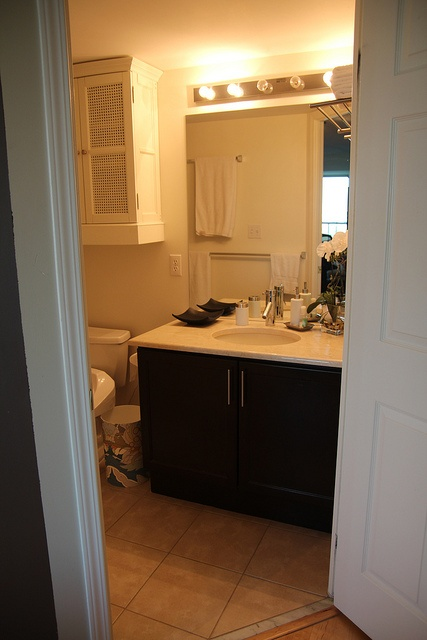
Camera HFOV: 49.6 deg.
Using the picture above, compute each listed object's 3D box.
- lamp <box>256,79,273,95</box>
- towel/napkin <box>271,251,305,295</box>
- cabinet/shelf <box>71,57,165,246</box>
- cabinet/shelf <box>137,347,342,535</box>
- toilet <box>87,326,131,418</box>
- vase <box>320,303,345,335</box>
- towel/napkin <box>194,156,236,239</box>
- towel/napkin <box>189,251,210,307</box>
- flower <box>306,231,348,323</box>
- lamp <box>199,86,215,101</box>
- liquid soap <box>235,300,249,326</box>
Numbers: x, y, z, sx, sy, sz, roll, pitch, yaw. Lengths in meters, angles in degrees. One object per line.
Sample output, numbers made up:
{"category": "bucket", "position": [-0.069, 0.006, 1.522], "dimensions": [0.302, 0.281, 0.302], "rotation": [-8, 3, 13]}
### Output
{"category": "lamp", "position": [0.252, -1.148, 2.260], "dimensions": [0.074, 0.061, 0.048], "rotation": [-1, 7, -3]}
{"category": "towel/napkin", "position": [0.392, -0.250, 2.392], "dimensions": [0.191, 0.284, 0.042], "rotation": [3, 7, 32]}
{"category": "cabinet/shelf", "position": [-0.492, -0.863, 2.429], "dimensions": [0.451, 0.905, 0.318], "rotation": [-2, 7, -9]}
{"category": "cabinet/shelf", "position": [0.142, 0.380, 2.171], "dimensions": [1.091, 0.931, 0.636], "rotation": [3, 8, 20]}
{"category": "toilet", "position": [-0.574, 0.302, 2.620], "dimensions": [0.238, 0.445, 0.739], "rotation": [-3, 7, -15]}
{"category": "vase", "position": [0.549, -0.013, 2.172], "dimensions": [0.117, 0.183, 0.126], "rotation": [-1, 3, -36]}
{"category": "towel/napkin", "position": [0.014, -0.665, 2.503], "dimensions": [0.233, 0.421, 0.029], "rotation": [1, 7, 18]}
{"category": "towel/napkin", "position": [-0.077, -0.231, 2.615], "dimensions": [0.140, 0.308, 0.029], "rotation": [3, 7, 27]}
{"category": "flower", "position": [0.539, -0.205, 2.215], "dimensions": [0.171, 0.419, 0.246], "rotation": [1, 7, 12]}
{"category": "lamp", "position": [-0.036, -1.174, 2.382], "dimensions": [0.080, 0.062, 0.041], "rotation": [0, 7, 11]}
{"category": "liquid soap", "position": [0.139, -0.045, 2.374], "dimensions": [0.086, 0.176, 0.095], "rotation": [-1, 11, -3]}
